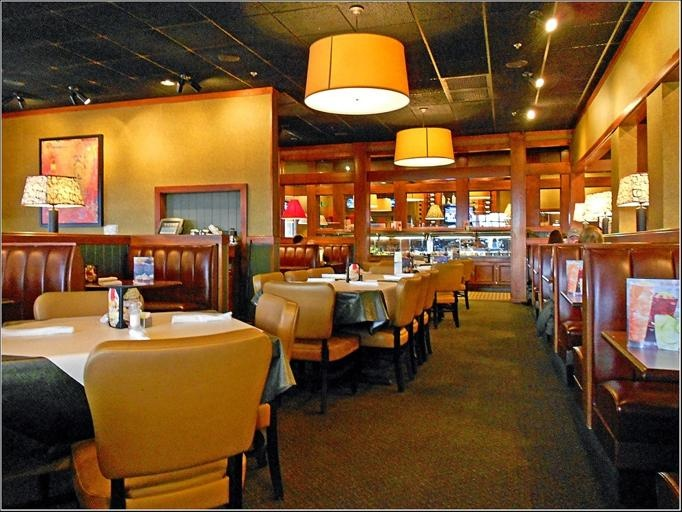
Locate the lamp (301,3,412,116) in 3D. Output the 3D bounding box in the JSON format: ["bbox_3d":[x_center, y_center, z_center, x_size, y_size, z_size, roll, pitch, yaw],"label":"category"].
[{"bbox_3d":[0.152,-1.830,4.871,0.985,0.679,0.765,-1,6,-3],"label":"lamp"}]

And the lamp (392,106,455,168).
[{"bbox_3d":[1.182,-1.747,7.588,0.764,0.826,0.754,-1,1,-11],"label":"lamp"}]

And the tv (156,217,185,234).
[{"bbox_3d":[-2.543,-0.473,7.624,0.438,0.239,0.411,2,-3,8],"label":"tv"}]

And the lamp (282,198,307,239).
[{"bbox_3d":[-0.898,-0.752,9.939,0.460,0.701,0.427,-4,14,-14],"label":"lamp"}]

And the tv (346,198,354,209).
[{"bbox_3d":[0.226,-1.579,14.928,0.185,0.330,0.301,-1,6,-9],"label":"tv"}]
